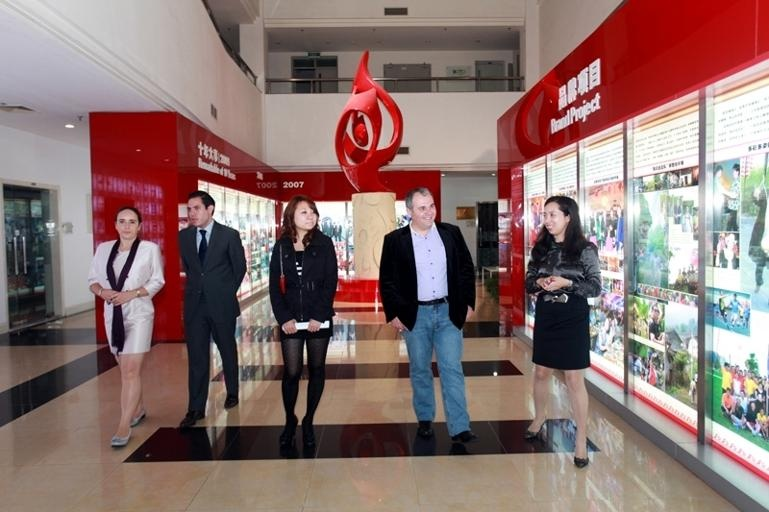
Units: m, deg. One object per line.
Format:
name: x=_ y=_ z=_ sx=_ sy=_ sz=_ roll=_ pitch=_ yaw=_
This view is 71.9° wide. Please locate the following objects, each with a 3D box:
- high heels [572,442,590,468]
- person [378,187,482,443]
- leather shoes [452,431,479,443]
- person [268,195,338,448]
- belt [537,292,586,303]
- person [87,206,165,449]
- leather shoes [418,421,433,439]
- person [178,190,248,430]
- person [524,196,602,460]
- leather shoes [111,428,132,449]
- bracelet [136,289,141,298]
high heels: x=1.695 y=1.738 z=4.534 sx=0.153 sy=0.081 sz=0.085 roll=-3 pitch=11 yaw=-10
person: x=0.394 y=0.531 z=4.907 sx=0.843 sy=2.294 sz=0.420 roll=1 pitch=9 yaw=10
leather shoes: x=0.734 y=1.661 z=4.858 sx=0.211 sy=0.096 sz=0.102 roll=-5 pitch=4 yaw=-4
person: x=-0.714 y=0.587 z=4.844 sx=0.608 sy=2.242 sz=0.492 roll=-3 pitch=10 yaw=-13
belt: x=1.508 y=0.353 z=4.597 sx=0.353 sy=0.092 sz=0.079 roll=6 pitch=12 yaw=29
person: x=-2.390 y=0.627 z=5.075 sx=0.617 sy=2.152 sz=0.552 roll=-6 pitch=11 yaw=-30
leather shoes: x=0.387 y=1.626 z=4.985 sx=0.150 sy=0.162 sz=0.096 roll=4 pitch=-5 yaw=0
person: x=-1.757 y=0.490 z=5.378 sx=0.752 sy=2.252 sz=0.509 roll=-6 pitch=11 yaw=-29
person: x=1.521 y=0.616 z=4.622 sx=0.618 sy=2.247 sz=0.491 roll=3 pitch=10 yaw=22
leather shoes: x=-2.437 y=1.706 z=4.957 sx=0.088 sy=0.097 sz=0.237 roll=0 pitch=-9 yaw=-6
bracelet: x=-2.293 y=0.346 z=4.978 sx=0.038 sy=0.076 sz=0.027 roll=-10 pitch=13 yaw=-44
